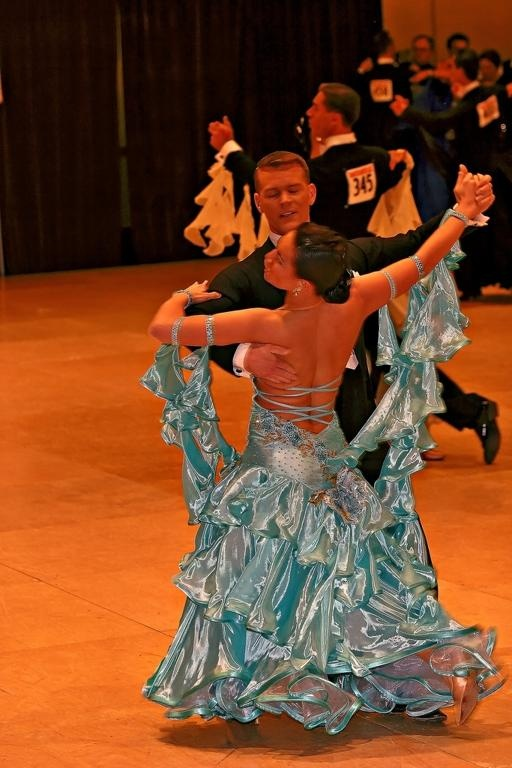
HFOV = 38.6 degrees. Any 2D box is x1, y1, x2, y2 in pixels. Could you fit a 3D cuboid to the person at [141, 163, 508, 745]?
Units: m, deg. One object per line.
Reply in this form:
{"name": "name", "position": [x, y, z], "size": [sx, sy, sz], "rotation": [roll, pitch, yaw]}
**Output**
{"name": "person", "position": [0.134, 0.147, 1.614], "size": [0.795, 1.070, 0.616], "rotation": [1, 10, 3]}
